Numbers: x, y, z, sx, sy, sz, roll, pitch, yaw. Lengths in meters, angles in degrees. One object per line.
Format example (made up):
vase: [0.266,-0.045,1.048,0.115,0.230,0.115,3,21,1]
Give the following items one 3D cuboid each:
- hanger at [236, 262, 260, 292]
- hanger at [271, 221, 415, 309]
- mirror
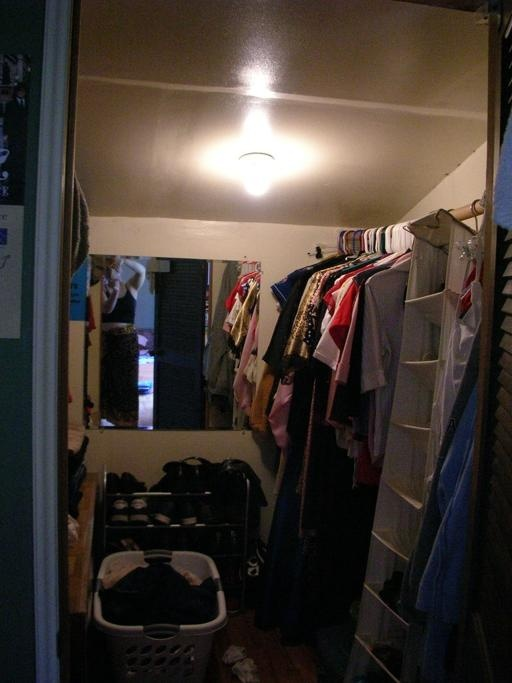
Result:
hanger: [-0.026,-0.247,2.241,0.072,0.090,0.027,1,0,-25]
hanger: [0.358,-0.258,2.173,0.578,0.334,0.315,11,11,40]
mirror: [-0.331,0.004,2.140,0.507,0.737,0.090,2,1,-13]
